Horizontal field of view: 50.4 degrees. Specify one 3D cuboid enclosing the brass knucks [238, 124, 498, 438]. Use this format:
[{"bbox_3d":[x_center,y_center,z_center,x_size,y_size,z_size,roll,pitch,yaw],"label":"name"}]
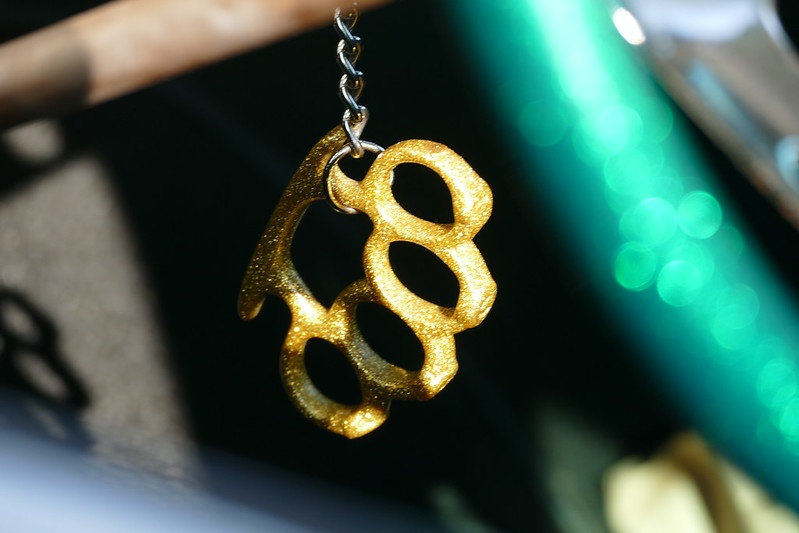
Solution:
[{"bbox_3d":[-0.044,0.018,1.085,0.330,0.047,0.391,17,100,18],"label":"brass knucks"}]
